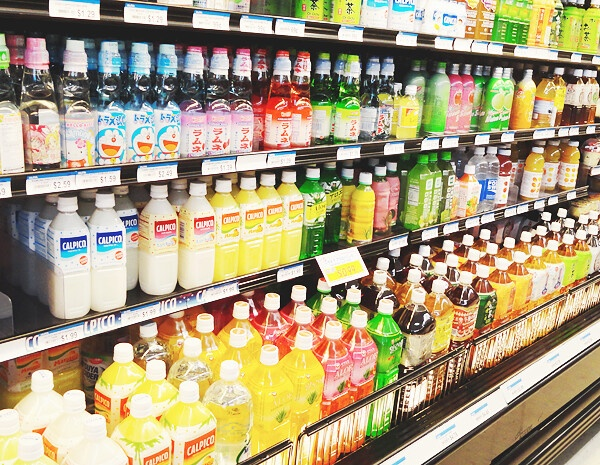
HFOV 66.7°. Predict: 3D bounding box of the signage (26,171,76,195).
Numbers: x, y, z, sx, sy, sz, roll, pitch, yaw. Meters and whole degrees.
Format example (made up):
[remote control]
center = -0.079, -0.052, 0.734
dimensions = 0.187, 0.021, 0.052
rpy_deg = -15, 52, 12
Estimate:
[signage]
center = -0.760, -0.155, 1.395
dimensions = 0.145, 0.060, 0.014
rpy_deg = -15, 22, -35
